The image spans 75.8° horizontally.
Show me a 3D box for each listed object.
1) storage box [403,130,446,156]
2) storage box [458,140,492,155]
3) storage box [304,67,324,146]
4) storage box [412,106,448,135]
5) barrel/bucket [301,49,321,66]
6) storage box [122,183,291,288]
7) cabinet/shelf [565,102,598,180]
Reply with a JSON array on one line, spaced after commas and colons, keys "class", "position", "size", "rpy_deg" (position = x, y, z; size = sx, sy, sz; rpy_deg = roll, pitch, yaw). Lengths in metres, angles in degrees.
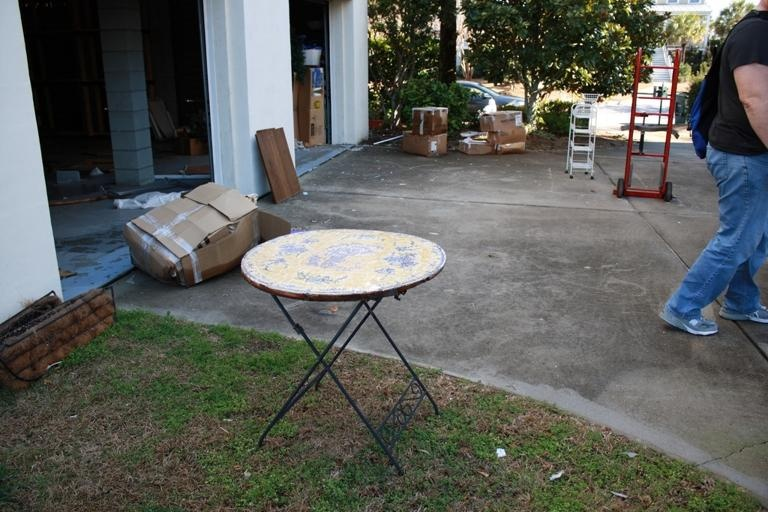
[{"class": "storage box", "position": [1.128, -2.830, 12.468], "size": [0.817, 0.516, 0.800], "rpy_deg": [-16, 26, -38]}, {"class": "storage box", "position": [2.296, -2.748, 12.526], "size": [0.801, 0.341, 0.475], "rpy_deg": [2, 21, 11]}, {"class": "storage box", "position": [-1.835, -4.001, 13.238], "size": [0.208, 1.953, 0.809], "rpy_deg": [5, 22, 18]}, {"class": "storage box", "position": [1.172, -3.355, 12.283], "size": [0.819, 0.649, 0.607], "rpy_deg": [-17, 25, -35]}, {"class": "barrel/bucket", "position": [-1.865, -5.155, 12.833], "size": [0.508, 0.339, 0.507], "rpy_deg": [0, 29, 0]}, {"class": "storage box", "position": [-1.919, -0.267, 5.494], "size": [1.264, 0.516, 1.435], "rpy_deg": [23, 36, 30]}, {"class": "cabinet/shelf", "position": [5.382, -3.592, 13.396], "size": [0.776, 1.458, 8.310], "rpy_deg": [6, 22, 20]}]
